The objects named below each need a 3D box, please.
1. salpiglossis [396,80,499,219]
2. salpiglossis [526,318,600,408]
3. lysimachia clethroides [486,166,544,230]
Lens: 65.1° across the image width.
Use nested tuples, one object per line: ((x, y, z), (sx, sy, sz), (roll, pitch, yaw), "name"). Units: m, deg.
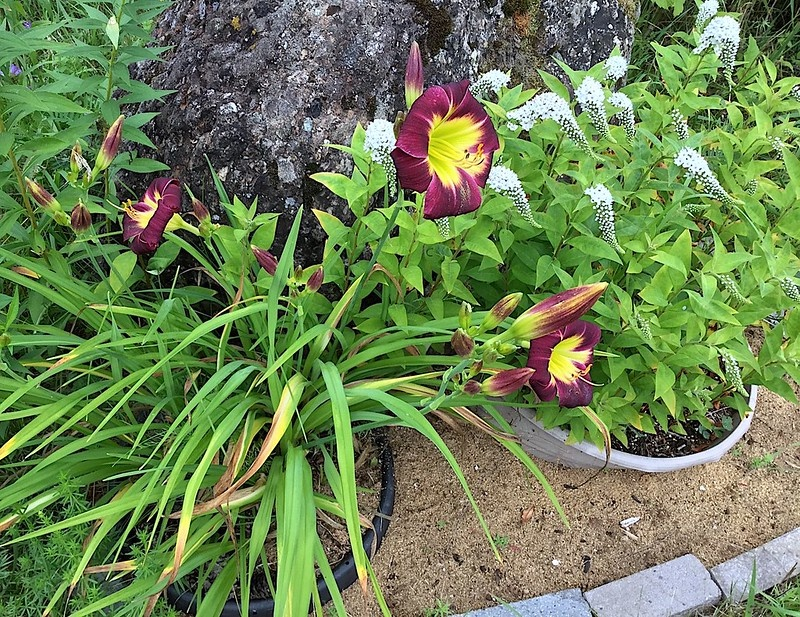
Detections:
((0.153, -0.473, 1.864), (0.265, 0.248, 0.374), (39, 55, 25), "salpiglossis")
((0.521, 0.186, 1.973), (0.265, 0.235, 0.152), (-16, 50, -21), "salpiglossis")
((0.374, -0.401, 2.077), (0.200, 0.217, 0.166), (1, 19, 0), "lysimachia clethroides")
